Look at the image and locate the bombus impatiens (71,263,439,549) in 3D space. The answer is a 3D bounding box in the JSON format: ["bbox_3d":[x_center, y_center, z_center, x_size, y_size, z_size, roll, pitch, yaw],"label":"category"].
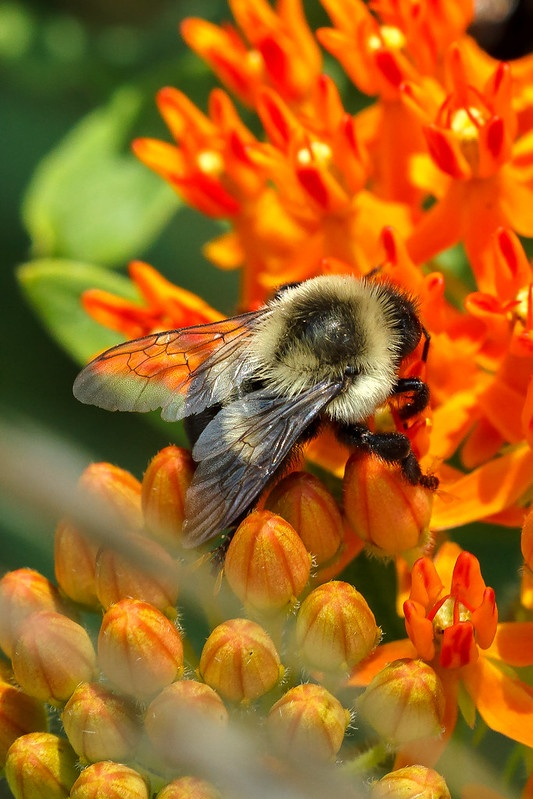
[{"bbox_3d":[0.010,-0.005,0.500,0.199,0.063,0.129,-31,58,-11],"label":"bombus impatiens"}]

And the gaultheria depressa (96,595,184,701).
[{"bbox_3d":[-0.049,0.098,0.353,0.034,0.028,0.028,19,30,0],"label":"gaultheria depressa"}]
